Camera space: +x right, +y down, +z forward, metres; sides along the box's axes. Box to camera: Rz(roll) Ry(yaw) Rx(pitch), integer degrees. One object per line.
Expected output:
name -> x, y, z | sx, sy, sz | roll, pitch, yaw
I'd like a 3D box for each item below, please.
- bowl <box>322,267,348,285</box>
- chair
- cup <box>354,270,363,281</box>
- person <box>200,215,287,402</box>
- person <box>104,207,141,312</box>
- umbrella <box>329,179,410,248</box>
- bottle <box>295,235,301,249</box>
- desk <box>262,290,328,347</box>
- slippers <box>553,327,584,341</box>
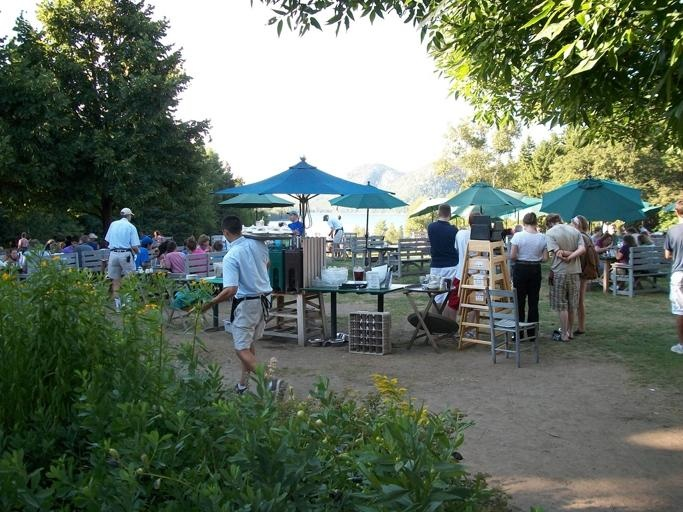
bowl -> -0.121, 0.304, 9.853 | 0.308, 0.183, 0.311 | 2, 2, 0
chair -> 2.456, 0.987, 8.924 | 0.580, 1.050, 0.632 | -1, 0, 45
cup -> 0.288, 0.297, 10.188 | 0.153, 0.168, 0.154 | 0, -3, 0
person -> -1.080, 0.584, 7.112 | 0.732, 2.075, 1.413 | -2, 6, -9
person -> -4.447, 0.039, 12.871 | 0.759, 1.974, 0.709 | 3, 6, 13
umbrella -> 0.806, -1.235, 16.565 | 1.905, 1.551, 1.801 | 0, -3, -1
bottle -> -0.709, -0.244, 10.095 | 0.108, 0.186, 0.165 | -1, 6, -3
desk -> -0.719, 1.028, 10.555 | 1.165, 0.890, 0.891 | 7, 12, 39
slippers -> 3.705, 1.267, 10.150 | 0.226, 0.129, 0.368 | -1, -1, -1
